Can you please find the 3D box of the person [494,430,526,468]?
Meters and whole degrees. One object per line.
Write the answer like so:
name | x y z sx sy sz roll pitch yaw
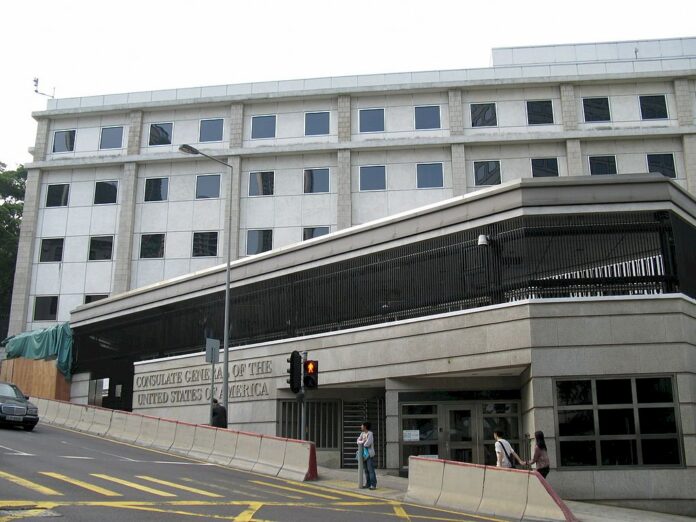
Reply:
person | 4.620 5.481 22.471 0.552 1.135 1.116 -2 -18 11

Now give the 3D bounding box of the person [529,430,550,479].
person | 5.673 5.700 22.808 0.435 1.331 0.748 -7 -20 27

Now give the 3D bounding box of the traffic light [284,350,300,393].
traffic light | -1.741 3.619 25.392 0.454 1.422 0.963 3 -18 -3

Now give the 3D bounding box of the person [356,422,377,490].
person | 0.639 6.272 24.879 0.613 2.179 1.212 1 -18 3

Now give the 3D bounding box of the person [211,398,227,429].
person | -5.049 5.998 30.160 0.663 1.111 0.824 9 -19 -22

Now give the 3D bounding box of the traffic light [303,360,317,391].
traffic light | -1.233 3.695 25.225 0.442 0.981 0.675 2 -18 -2
